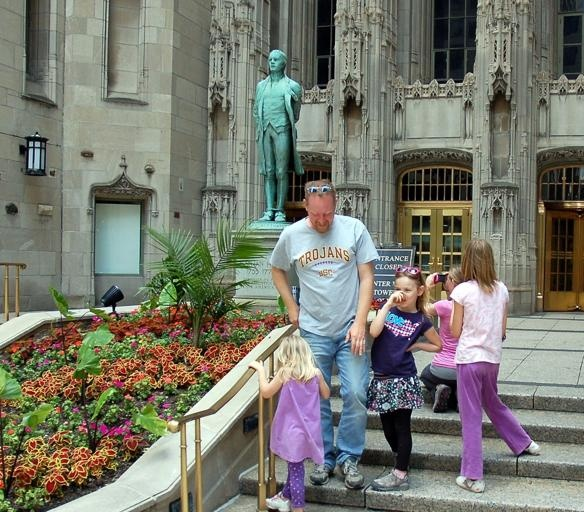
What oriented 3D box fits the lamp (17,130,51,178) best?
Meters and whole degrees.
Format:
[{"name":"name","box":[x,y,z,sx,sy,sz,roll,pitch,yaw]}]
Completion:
[{"name":"lamp","box":[-5.314,-2.097,14.829,0.641,1.255,0.733,1,3,5]}]

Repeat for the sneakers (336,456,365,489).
[{"name":"sneakers","box":[0.442,1.648,5.469,0.107,0.158,0.314,-2,1,-12]}]

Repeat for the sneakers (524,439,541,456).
[{"name":"sneakers","box":[1.937,1.566,5.802,0.067,0.082,0.163,-4,-13,5]}]

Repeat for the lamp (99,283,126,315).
[{"name":"lamp","box":[-2.447,0.566,9.759,0.253,0.392,1.021,-2,4,-14]}]

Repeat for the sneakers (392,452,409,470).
[{"name":"sneakers","box":[0.827,1.550,5.438,0.104,0.161,0.136,0,4,14]}]

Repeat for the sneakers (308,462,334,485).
[{"name":"sneakers","box":[0.221,1.683,5.533,0.090,0.115,0.259,-1,-7,9]}]

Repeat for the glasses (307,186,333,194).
[{"name":"glasses","box":[0.202,-0.477,5.207,0.174,0.057,0.068,-1,4,3]}]

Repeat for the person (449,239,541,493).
[{"name":"person","box":[1.491,0.816,5.601,0.658,1.889,0.334,-3,4,-39]}]

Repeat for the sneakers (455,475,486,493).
[{"name":"sneakers","box":[1.344,1.730,5.428,0.096,0.098,0.196,-9,18,-40]}]

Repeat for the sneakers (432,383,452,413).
[{"name":"sneakers","box":[1.366,1.299,6.586,0.129,0.290,0.126,4,2,-23]}]

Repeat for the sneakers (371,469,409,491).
[{"name":"sneakers","box":[0.746,1.715,5.499,0.279,0.182,0.131,2,-3,-3]}]
